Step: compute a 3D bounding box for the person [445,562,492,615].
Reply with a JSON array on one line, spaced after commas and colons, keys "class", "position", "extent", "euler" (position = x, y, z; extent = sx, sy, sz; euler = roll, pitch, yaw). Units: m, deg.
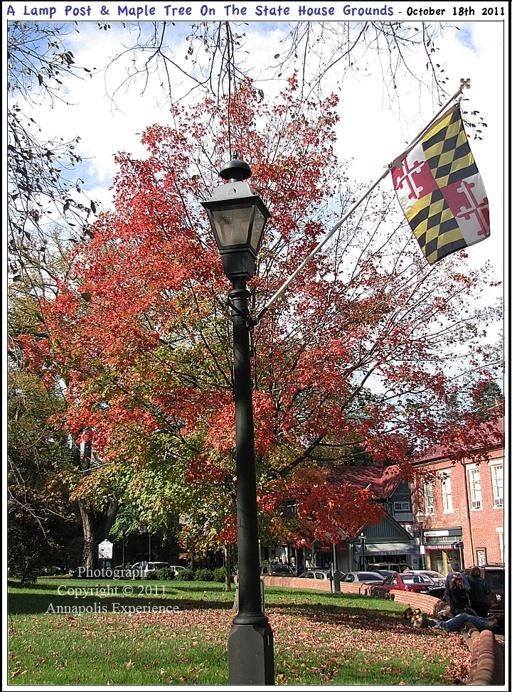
[{"class": "person", "position": [3.953, 4.566, 12.075], "extent": [1.252, 0.684, 0.703], "euler": [5, -12, -29]}]

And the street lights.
[{"class": "street lights", "position": [-0.111, 0.398, 5.045], "extent": [0.527, 4.180, 0.455], "euler": [-2, -16, 1]}]

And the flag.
[{"class": "flag", "position": [2.910, -2.437, 10.318], "extent": [1.215, 2.195, 0.664], "euler": [-14, -20, 38]}]
